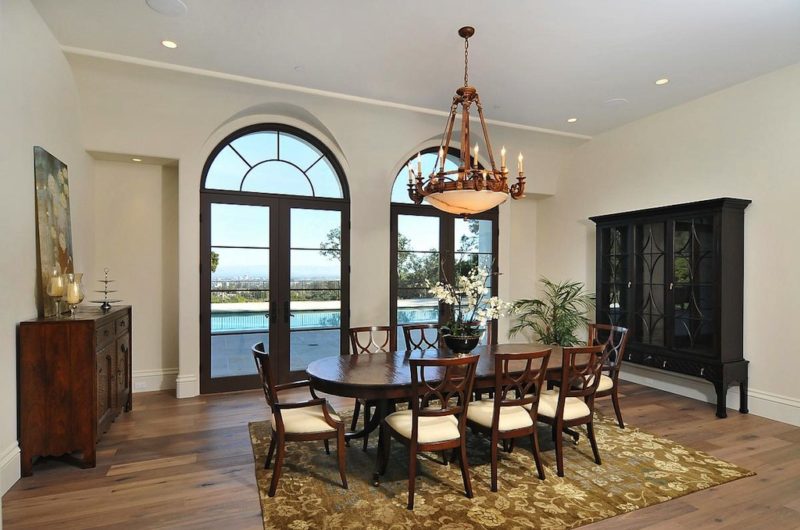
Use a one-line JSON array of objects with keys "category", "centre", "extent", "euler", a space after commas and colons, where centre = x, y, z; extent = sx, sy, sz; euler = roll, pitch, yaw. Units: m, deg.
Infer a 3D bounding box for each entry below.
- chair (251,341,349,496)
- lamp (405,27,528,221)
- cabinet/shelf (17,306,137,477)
[{"category": "chair", "centre": [-0.942, 1.549, 6.142], "extent": [1.335, 1.963, 1.266], "euler": [0, -1, -12]}, {"category": "lamp", "centre": [0.766, -1.706, 6.217], "extent": [1.324, 2.046, 1.300], "euler": [-1, 3, 5]}, {"category": "cabinet/shelf", "centre": [-3.398, 1.344, 5.611], "extent": [0.664, 1.286, 1.709], "euler": [-1, 0, -18]}]
